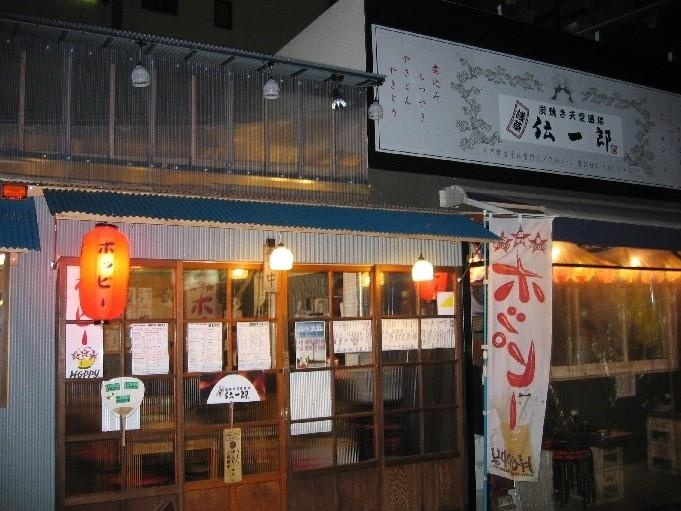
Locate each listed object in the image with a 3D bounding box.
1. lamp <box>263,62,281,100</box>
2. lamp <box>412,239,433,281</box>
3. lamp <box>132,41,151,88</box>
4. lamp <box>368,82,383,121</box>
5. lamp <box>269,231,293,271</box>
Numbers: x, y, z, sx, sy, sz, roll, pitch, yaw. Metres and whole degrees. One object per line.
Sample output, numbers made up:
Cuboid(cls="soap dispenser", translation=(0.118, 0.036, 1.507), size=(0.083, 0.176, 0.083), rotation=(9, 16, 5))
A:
Cuboid(cls="lamp", translation=(-0.927, -2.325, 11.762), size=(0.228, 0.481, 0.478), rotation=(1, -1, -5))
Cuboid(cls="lamp", translation=(1.183, 0.192, 12.474), size=(0.318, 0.446, 0.474), rotation=(0, -1, 6))
Cuboid(cls="lamp", translation=(-2.558, -2.424, 11.159), size=(0.256, 0.557, 0.408), rotation=(1, -1, -14))
Cuboid(cls="lamp", translation=(0.492, -2.152, 12.294), size=(0.206, 0.502, 0.398), rotation=(1, -1, 1))
Cuboid(cls="lamp", translation=(-0.811, -0.012, 11.482), size=(0.327, 0.647, 0.336), rotation=(5, -9, -31))
